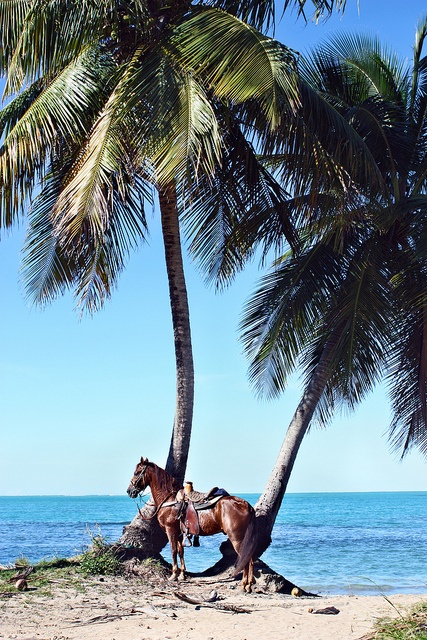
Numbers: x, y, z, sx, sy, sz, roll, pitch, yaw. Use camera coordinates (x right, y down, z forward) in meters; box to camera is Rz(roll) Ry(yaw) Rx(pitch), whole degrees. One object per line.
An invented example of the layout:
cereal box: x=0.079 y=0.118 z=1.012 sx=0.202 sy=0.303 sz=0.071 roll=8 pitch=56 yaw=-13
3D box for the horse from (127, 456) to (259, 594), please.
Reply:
horse: x=-0.302 y=3.056 z=12.749 sx=2.108 sy=1.859 sz=0.547 roll=-9 pitch=-14 yaw=38
